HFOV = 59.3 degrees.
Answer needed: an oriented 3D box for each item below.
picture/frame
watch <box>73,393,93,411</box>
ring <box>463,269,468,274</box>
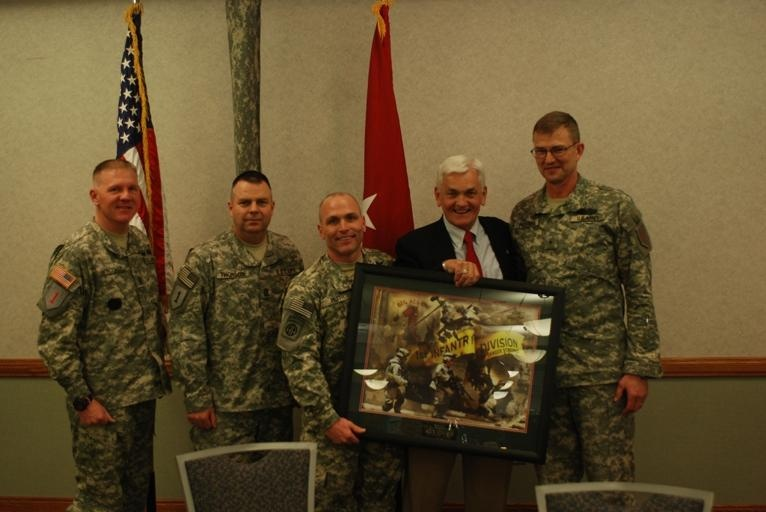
[{"bbox_3d":[0.333,0.582,3.688,1.157,0.909,0.085,7,-7,4],"label":"picture/frame"},{"bbox_3d":[-1.674,0.816,3.764,0.101,0.071,0.038,-25,12,-16],"label":"watch"},{"bbox_3d":[0.454,0.085,3.678,0.026,0.023,0.006,11,-2,3],"label":"ring"}]
